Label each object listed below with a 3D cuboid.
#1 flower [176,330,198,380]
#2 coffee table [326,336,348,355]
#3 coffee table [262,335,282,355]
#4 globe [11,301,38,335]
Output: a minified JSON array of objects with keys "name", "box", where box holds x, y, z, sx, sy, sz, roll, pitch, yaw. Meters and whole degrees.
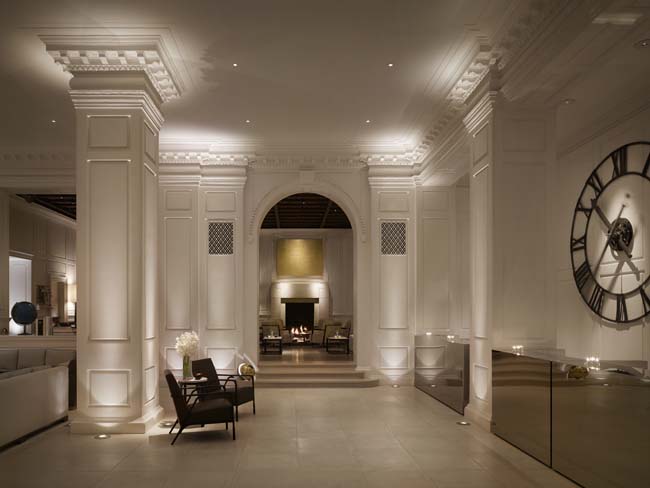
[{"name":"flower","box":[-2.190,1.748,7.274,0.359,0.712,0.329,12,-23,-44]},{"name":"coffee table","box":[0.390,3.128,14.444,0.569,0.395,0.606,0,-5,13]},{"name":"coffee table","box":[-1.682,3.167,14.556,0.502,0.514,0.998,1,-10,-2]},{"name":"globe","box":[-7.120,1.649,10.917,0.438,0.551,0.373,3,-4,-39]}]
